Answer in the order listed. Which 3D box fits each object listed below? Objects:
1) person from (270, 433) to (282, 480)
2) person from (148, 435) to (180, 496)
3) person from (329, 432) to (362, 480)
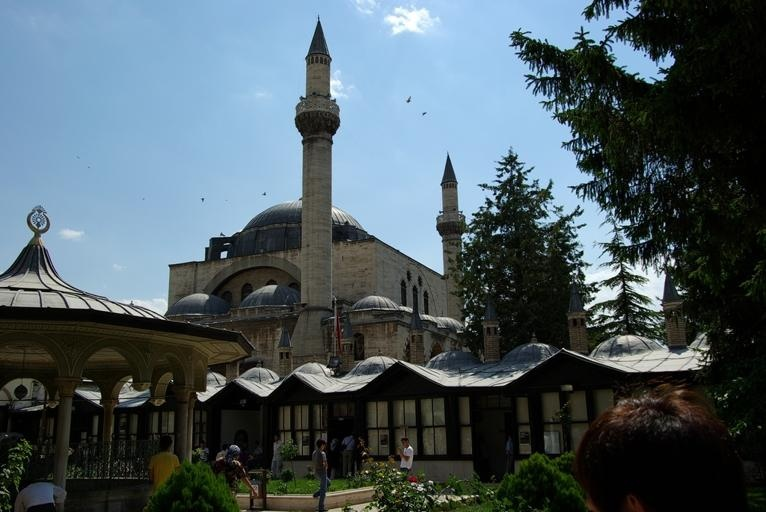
[{"bbox_3d":[-4.083,7.812,27.954,0.372,1.359,0.594,1,-18,-9],"label":"person"},{"bbox_3d":[-4.394,4.100,14.507,0.639,1.045,0.562,-4,-18,6],"label":"person"},{"bbox_3d":[-1.444,7.637,27.778,0.860,1.589,2.916,2,-19,-13],"label":"person"}]
